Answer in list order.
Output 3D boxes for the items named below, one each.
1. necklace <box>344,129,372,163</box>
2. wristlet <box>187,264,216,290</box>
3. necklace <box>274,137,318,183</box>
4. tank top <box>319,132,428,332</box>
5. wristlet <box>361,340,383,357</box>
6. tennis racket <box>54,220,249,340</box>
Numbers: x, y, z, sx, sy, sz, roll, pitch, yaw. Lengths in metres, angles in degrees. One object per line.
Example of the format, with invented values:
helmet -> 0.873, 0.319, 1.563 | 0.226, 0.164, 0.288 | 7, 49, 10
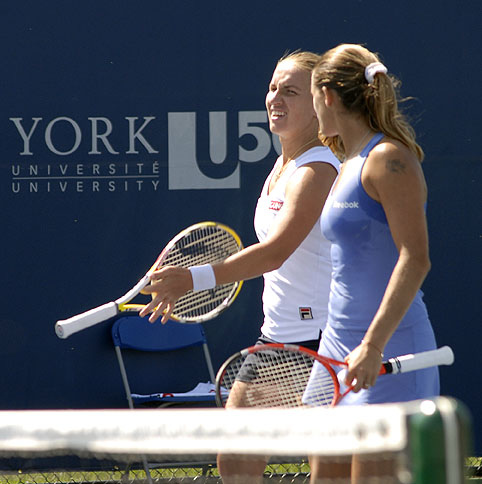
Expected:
necklace -> 0.422, -0.346, 3.800 | 0.014, 0.032, 0.136 | 30, 82, 11
wristlet -> -0.143, 0.133, 3.954 | 0.070, 0.048, 0.098 | -5, 18, 8
necklace -> 0.225, -0.323, 4.202 | 0.066, 0.019, 0.291 | 37, 48, 0
tank top -> 0.420, -0.008, 3.788 | 0.208, 0.663, 0.361 | -5, 32, -19
wristlet -> 0.449, 0.367, 3.639 | 0.057, 0.017, 0.062 | 21, 68, 3
tennis racket -> -0.392, 0.241, 4.823 | 1.006, 0.096, 0.451 | -19, 64, 25
